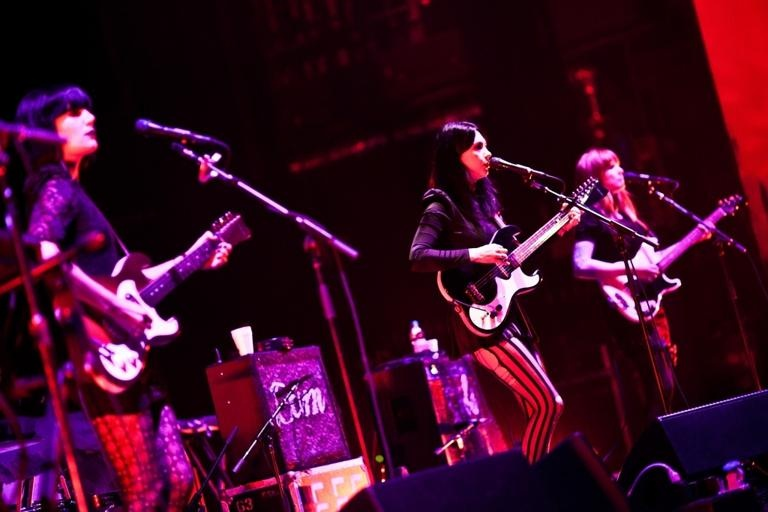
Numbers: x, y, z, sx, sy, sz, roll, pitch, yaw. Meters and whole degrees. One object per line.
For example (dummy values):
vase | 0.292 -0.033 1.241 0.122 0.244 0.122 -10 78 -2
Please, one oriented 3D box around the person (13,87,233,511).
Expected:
person | -1.435 0.224 3.263 0.232 2.356 0.891 -19 -6 37

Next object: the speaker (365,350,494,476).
speaker | 0.364 1.180 4.629 0.614 1.068 0.669 -12 -2 30

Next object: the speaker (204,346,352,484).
speaker | -0.706 1.102 4.407 0.519 0.853 0.894 -20 -13 22

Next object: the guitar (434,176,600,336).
guitar | 0.897 -0.040 4.281 1.393 0.556 0.158 -45 13 -29

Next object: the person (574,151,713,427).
person | 1.855 0.092 4.997 0.876 2.367 0.241 -7 -10 -30
